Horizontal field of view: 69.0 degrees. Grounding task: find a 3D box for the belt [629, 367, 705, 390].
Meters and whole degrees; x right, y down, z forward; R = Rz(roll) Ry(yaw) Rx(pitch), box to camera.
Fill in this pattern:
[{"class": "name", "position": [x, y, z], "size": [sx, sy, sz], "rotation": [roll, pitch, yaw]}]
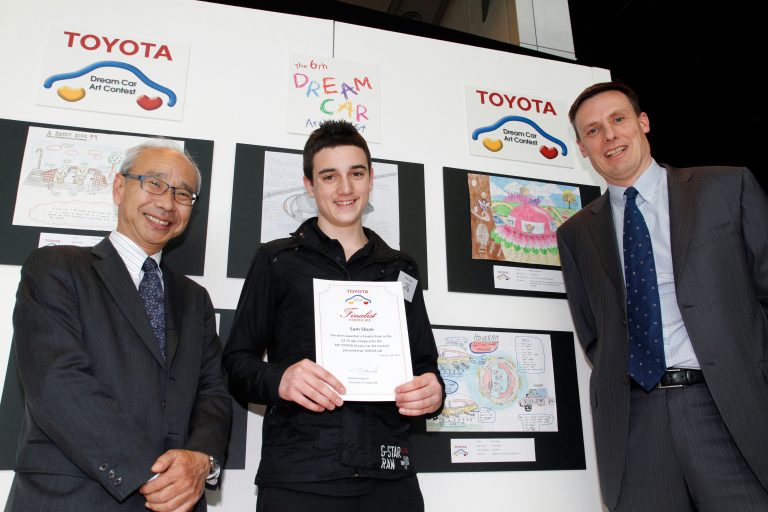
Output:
[{"class": "belt", "position": [1.420, 0.600, 2.747], "size": [0.207, 0.056, 0.120], "rotation": [-4, -2, 9]}]
